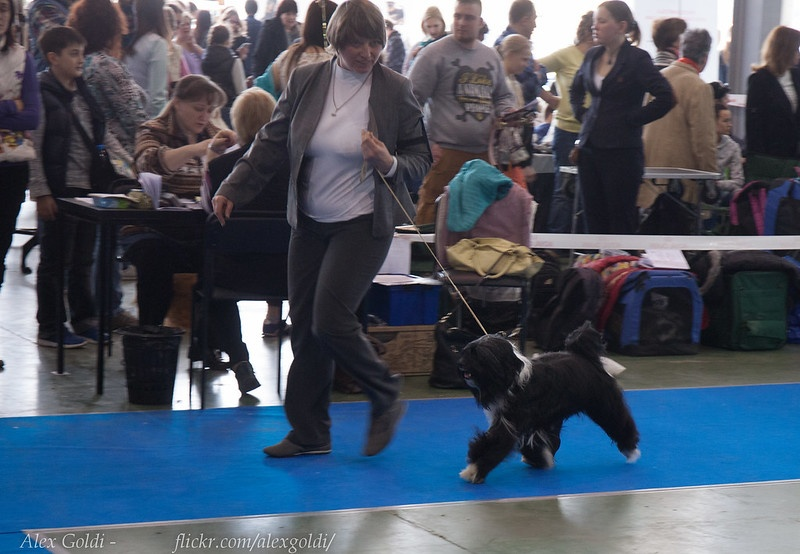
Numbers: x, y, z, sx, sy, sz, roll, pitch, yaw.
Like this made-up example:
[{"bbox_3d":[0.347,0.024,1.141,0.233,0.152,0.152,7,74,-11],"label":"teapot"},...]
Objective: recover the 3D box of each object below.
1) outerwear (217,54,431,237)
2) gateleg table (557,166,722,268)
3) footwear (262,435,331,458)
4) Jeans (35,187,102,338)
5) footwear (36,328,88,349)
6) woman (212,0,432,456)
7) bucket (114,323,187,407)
[{"bbox_3d":[-0.389,-0.675,4.966,1.155,0.568,0.536,0,11,0],"label":"outerwear"},{"bbox_3d":[2.297,-0.520,9.028,1.553,0.893,1.119,-1,2,-14],"label":"gateleg table"},{"bbox_3d":[-0.537,0.894,5.122,0.399,0.095,0.106,1,-2,-8],"label":"footwear"},{"bbox_3d":[-2.276,-0.081,6.698,0.430,0.998,0.444,-6,3,21],"label":"Jeans"},{"bbox_3d":[-2.419,0.420,6.732,0.519,0.126,0.163,1,2,3],"label":"footwear"},{"bbox_3d":[-0.421,-0.220,4.941,1.078,2.326,0.613,5,18,-1],"label":"woman"},{"bbox_3d":[-1.456,0.545,5.760,0.612,0.404,0.518,1,-1,-7],"label":"bucket"}]
